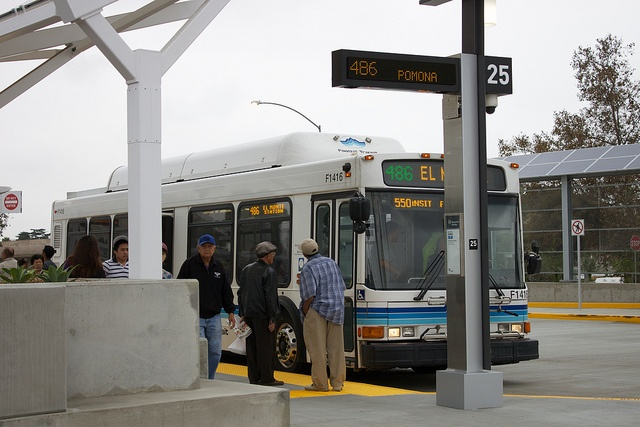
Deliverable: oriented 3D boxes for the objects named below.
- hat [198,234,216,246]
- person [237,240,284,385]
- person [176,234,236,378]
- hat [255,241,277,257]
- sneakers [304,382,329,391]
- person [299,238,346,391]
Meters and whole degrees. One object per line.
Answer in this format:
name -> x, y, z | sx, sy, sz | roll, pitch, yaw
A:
hat -> -1.835, 0.387, 9.580 | 0.251, 0.217, 0.378 | 2, -16, -8
person -> -1.030, 1.704, 10.048 | 0.717, 2.403, 0.473 | -2, -6, 6
person -> -1.733, 1.428, 9.204 | 0.793, 2.192, 0.385 | 0, -6, -15
hat -> -0.902, 0.596, 10.150 | 0.341, 0.187, 0.247 | -17, 18, -21
sneakers -> -0.057, 2.851, 9.665 | 0.373, 0.171, 0.147 | 6, 3, 16
person -> 0.045, 1.662, 9.741 | 0.719, 2.492, 0.435 | -1, -6, -1
